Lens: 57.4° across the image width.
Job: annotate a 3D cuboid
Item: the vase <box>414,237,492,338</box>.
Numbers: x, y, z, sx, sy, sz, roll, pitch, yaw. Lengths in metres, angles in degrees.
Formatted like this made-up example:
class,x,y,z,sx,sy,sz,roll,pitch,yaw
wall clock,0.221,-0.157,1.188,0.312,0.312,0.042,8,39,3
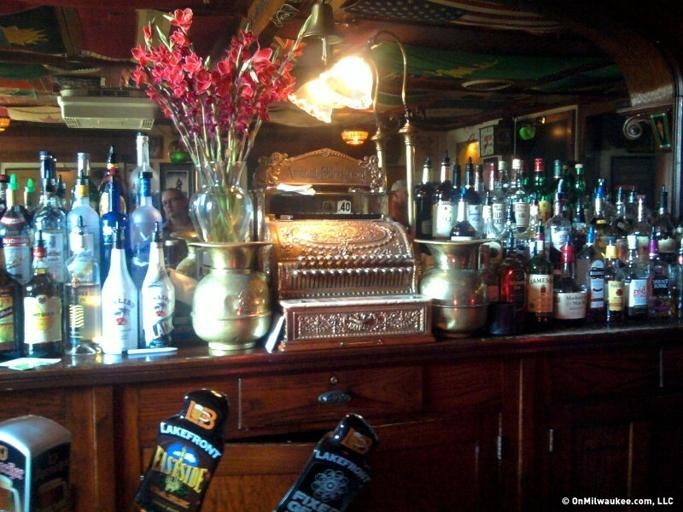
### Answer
class,x,y,z,sx,sy,sz,roll,pitch,yaw
vase,0.429,0.120,2.462,0.338,0.364,0.348,-1,4,-22

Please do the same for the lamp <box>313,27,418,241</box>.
class,x,y,z,sx,sy,sz,roll,pitch,yaw
lamp,0.202,-0.545,2.949,0.505,1.026,0.268,14,46,23

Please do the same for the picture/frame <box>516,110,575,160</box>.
class,x,y,z,sx,sy,sz,roll,pitch,yaw
picture/frame,2.762,-1.659,8.682,1.033,0.838,0.066,-5,9,-12

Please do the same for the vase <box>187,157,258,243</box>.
class,x,y,z,sx,sy,sz,roll,pitch,yaw
vase,-0.436,-0.194,2.285,0.220,0.294,0.213,7,15,20

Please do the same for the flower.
class,x,y,z,sx,sy,sz,roll,pitch,yaw
flower,-0.415,-0.421,2.139,0.553,0.743,0.279,-2,2,-17

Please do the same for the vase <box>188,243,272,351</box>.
class,x,y,z,sx,sy,sz,roll,pitch,yaw
vase,-0.410,0.168,2.277,0.317,0.392,0.330,-7,-7,37

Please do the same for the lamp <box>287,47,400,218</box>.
class,x,y,z,sx,sy,sz,roll,pitch,yaw
lamp,-0.036,-0.583,2.987,0.667,0.752,0.629,6,1,-8
